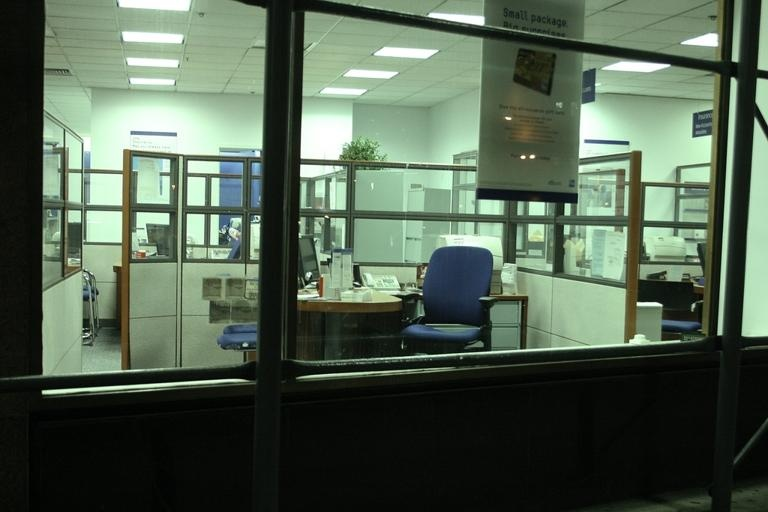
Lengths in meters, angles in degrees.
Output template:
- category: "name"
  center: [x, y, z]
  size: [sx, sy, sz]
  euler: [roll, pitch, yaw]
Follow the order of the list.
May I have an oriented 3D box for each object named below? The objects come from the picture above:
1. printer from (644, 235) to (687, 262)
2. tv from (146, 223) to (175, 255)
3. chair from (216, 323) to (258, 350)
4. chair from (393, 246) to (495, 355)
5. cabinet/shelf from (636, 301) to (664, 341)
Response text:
- category: "printer"
  center: [2.486, -0.064, 6.405]
  size: [0.370, 0.216, 0.191]
  euler: [1, 2, 4]
- category: "tv"
  center: [-1.574, -0.127, 5.309]
  size: [0.207, 0.208, 0.113]
  euler: [2, 14, -38]
- category: "chair"
  center: [-0.969, 0.552, 4.756]
  size: [0.234, 0.197, 0.447]
  euler: [0, 3, -14]
- category: "chair"
  center: [0.356, 0.367, 4.259]
  size: [0.549, 0.807, 0.568]
  euler: [1, 5, 3]
- category: "cabinet/shelf"
  center: [1.658, 0.416, 4.496]
  size: [0.110, 0.264, 0.374]
  euler: [2, 3, 37]
